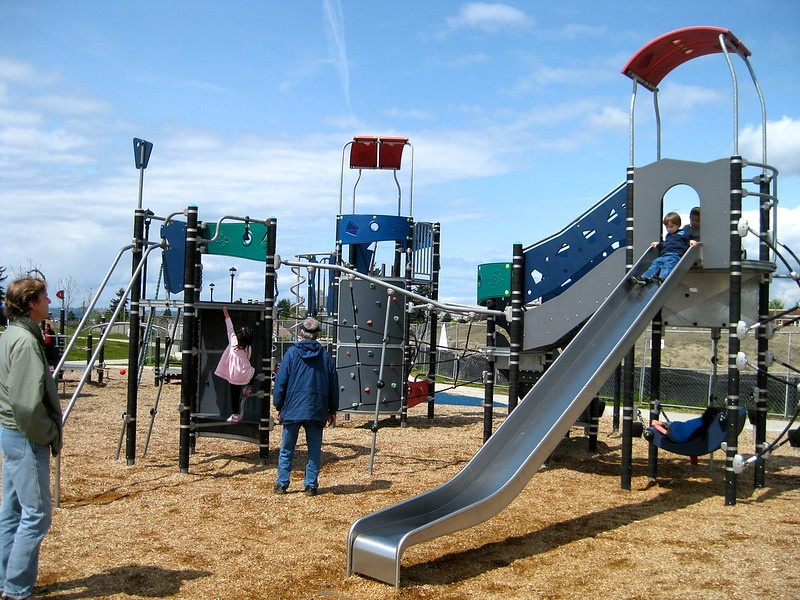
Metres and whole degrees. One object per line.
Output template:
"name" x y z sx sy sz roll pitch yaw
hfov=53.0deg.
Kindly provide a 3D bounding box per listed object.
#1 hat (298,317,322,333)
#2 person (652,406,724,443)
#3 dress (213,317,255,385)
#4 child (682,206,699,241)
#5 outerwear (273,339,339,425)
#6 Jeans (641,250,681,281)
"hat" -1.194 0.369 10.840 0.190 0.185 0.233 4 15 -14
"person" 4.025 1.804 11.300 0.504 0.345 0.694 -9 -11 -20
"dress" -2.339 0.706 11.797 0.615 1.167 0.358 3 23 -17
"child" 4.016 -1.041 11.093 0.219 0.459 0.818 2 3 20
"outerwear" -1.235 1.101 10.607 0.838 1.098 0.364 1 3 -9
"Jeans" 3.619 -0.452 11.180 0.302 0.534 0.201 12 -36 53
